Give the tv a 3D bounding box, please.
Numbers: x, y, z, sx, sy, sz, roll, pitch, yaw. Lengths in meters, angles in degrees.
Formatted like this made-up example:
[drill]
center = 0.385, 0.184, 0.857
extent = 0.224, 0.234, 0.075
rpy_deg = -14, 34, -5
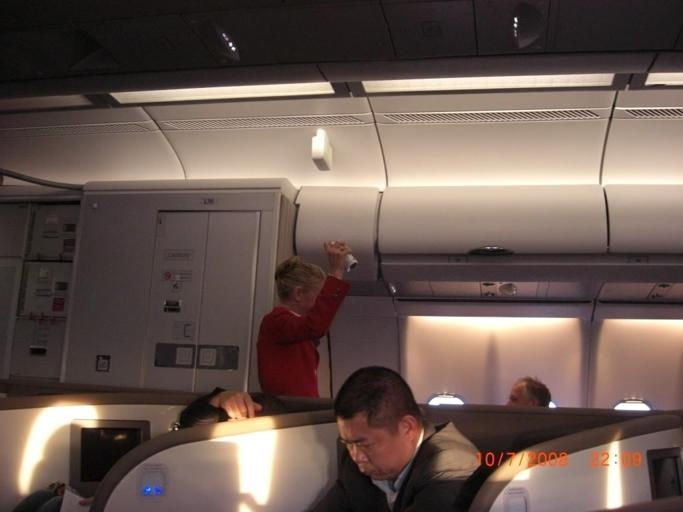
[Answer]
[tv]
center = -0.978, 0.851, 2.136
extent = 0.366, 0.424, 0.043
rpy_deg = 1, -1, -2
